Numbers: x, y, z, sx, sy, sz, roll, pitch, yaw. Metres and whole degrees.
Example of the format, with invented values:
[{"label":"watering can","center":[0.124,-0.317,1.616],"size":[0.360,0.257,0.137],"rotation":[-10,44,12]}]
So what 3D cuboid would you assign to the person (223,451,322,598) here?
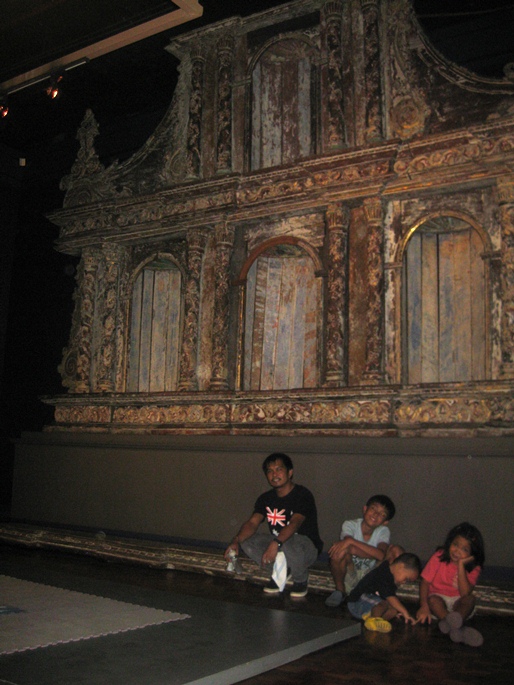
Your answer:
[{"label":"person","center":[0.113,1.131,5.082],"size":[0.586,0.859,0.622],"rotation":[3,-8,4]}]

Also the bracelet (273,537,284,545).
[{"label":"bracelet","center":[0.128,1.188,4.844],"size":[0.051,0.032,0.047],"rotation":[4,-9,-23]}]
